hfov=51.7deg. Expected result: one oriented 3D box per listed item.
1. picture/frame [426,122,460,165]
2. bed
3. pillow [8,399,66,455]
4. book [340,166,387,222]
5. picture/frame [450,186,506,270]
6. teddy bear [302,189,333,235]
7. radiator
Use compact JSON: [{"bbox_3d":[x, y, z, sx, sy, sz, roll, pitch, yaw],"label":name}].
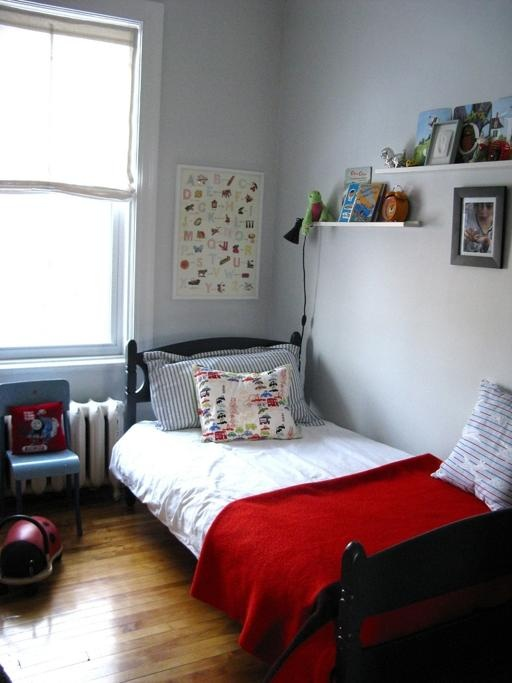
[{"bbox_3d":[0.682,-0.721,1.935,0.018,0.157,0.145,0,5,-32],"label":"picture/frame"},{"bbox_3d":[0.076,0.338,1.579,0.642,0.270,0.967,-5,12,-30],"label":"bed"},{"bbox_3d":[-0.987,0.392,2.361,0.220,0.218,0.079,-1,-14,-28],"label":"pillow"},{"bbox_3d":[0.492,-0.662,2.391,0.031,0.298,0.264,12,7,-33],"label":"book"},{"bbox_3d":[0.781,-0.398,1.844,0.023,0.326,0.258,-2,14,-27],"label":"picture/frame"},{"bbox_3d":[0.310,-0.676,2.709,0.149,0.191,0.161,-4,9,7],"label":"teddy bear"},{"bbox_3d":[-0.898,0.488,2.455,0.497,0.476,0.098,-3,5,-29],"label":"radiator"}]
